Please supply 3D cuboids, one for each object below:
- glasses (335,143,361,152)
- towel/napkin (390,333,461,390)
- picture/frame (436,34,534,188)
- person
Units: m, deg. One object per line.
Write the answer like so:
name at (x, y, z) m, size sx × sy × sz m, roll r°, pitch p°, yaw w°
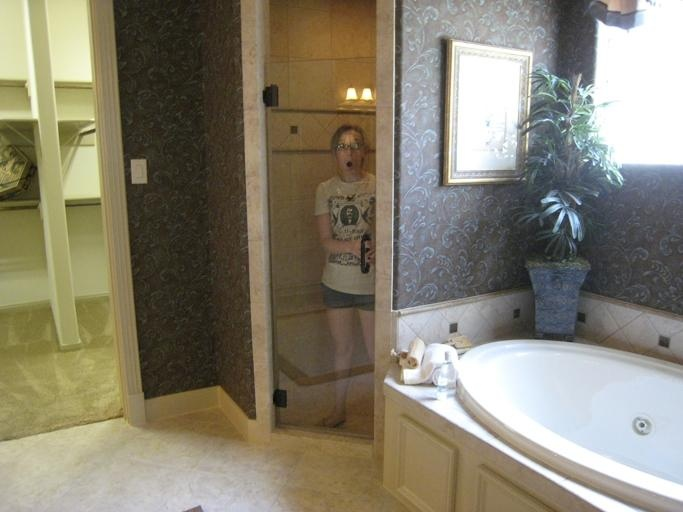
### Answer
glasses at (0.032, -0.617, 3.131) m, size 0.152 × 0.041 × 0.017 m, roll 1°, pitch 13°, yaw 9°
towel/napkin at (0.410, 0.532, 2.760) m, size 0.222 × 0.087 × 0.230 m, roll 5°, pitch 17°, yaw 21°
picture/frame at (0.752, -0.805, 2.984) m, size 0.814 × 0.968 × 0.061 m, roll -1°, pitch 5°, yaw -33°
person at (0.020, 0.147, 3.239) m, size 0.343 × 1.788 × 0.217 m, roll -2°, pitch 13°, yaw -3°
